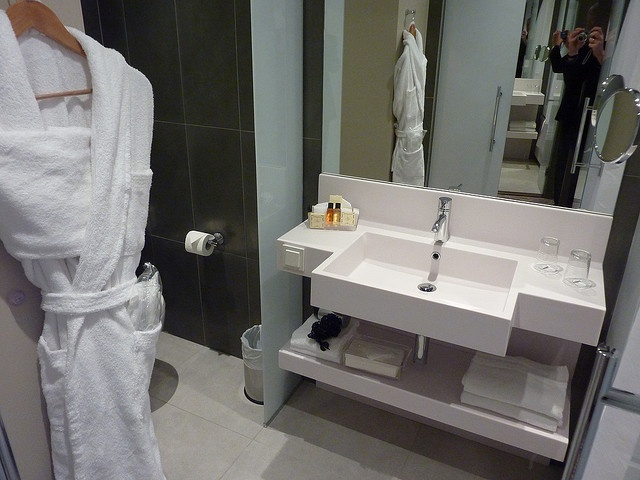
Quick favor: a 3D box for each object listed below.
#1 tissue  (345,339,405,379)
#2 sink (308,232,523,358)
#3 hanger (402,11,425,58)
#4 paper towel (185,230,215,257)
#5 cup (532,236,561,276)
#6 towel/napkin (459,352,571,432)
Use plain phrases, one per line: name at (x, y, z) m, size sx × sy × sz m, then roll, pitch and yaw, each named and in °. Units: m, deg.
tissue  at (0.244, 0.528, 2.138) m, size 0.189 × 0.055 × 0.150 m, roll 12°, pitch 32°, yaw 19°
sink at (0.392, 0.184, 1.990) m, size 0.785 × 0.212 × 0.439 m, roll 10°, pitch 24°, yaw 21°
hanger at (0.405, -0.893, 2.065) m, size 0.118 × 0.230 × 0.030 m, roll 27°, pitch 55°, yaw 34°
paper towel at (-0.646, 0.024, 2.616) m, size 0.126 × 0.125 × 0.135 m, roll 6°, pitch 26°, yaw 27°
cup at (0.933, 0.072, 1.965) m, size 0.091 × 0.117 × 0.094 m, roll -2°, pitch 29°, yaw 1°
towel/napkin at (0.819, 0.619, 2.019) m, size 0.410 × 0.103 × 0.321 m, roll 11°, pitch 24°, yaw 21°
